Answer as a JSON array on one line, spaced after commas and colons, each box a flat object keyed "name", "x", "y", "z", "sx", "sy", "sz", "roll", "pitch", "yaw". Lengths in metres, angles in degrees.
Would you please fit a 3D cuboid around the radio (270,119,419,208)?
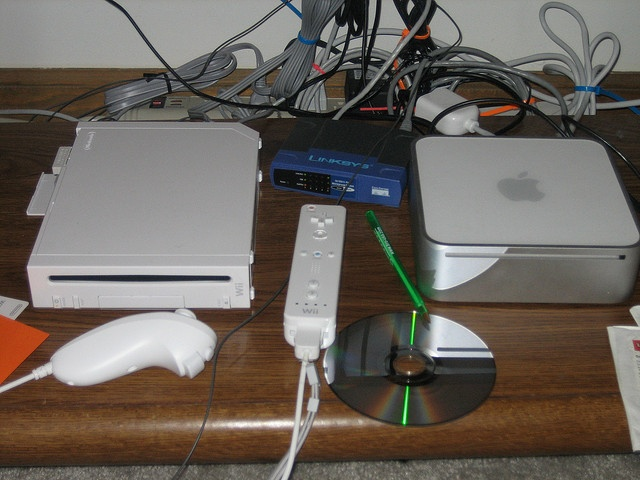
[{"name": "radio", "x": 0.044, "y": -0.135, "z": 0.946, "sx": 0.212, "sy": 0.051, "sz": 0.148, "roll": 8, "pitch": 47, "yaw": 12}]

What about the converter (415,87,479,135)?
[{"name": "converter", "x": 0.220, "y": -0.226, "z": 1.036, "sx": 0.105, "sy": 0.074, "sz": 0.116, "roll": -16, "pitch": 41, "yaw": -33}]
